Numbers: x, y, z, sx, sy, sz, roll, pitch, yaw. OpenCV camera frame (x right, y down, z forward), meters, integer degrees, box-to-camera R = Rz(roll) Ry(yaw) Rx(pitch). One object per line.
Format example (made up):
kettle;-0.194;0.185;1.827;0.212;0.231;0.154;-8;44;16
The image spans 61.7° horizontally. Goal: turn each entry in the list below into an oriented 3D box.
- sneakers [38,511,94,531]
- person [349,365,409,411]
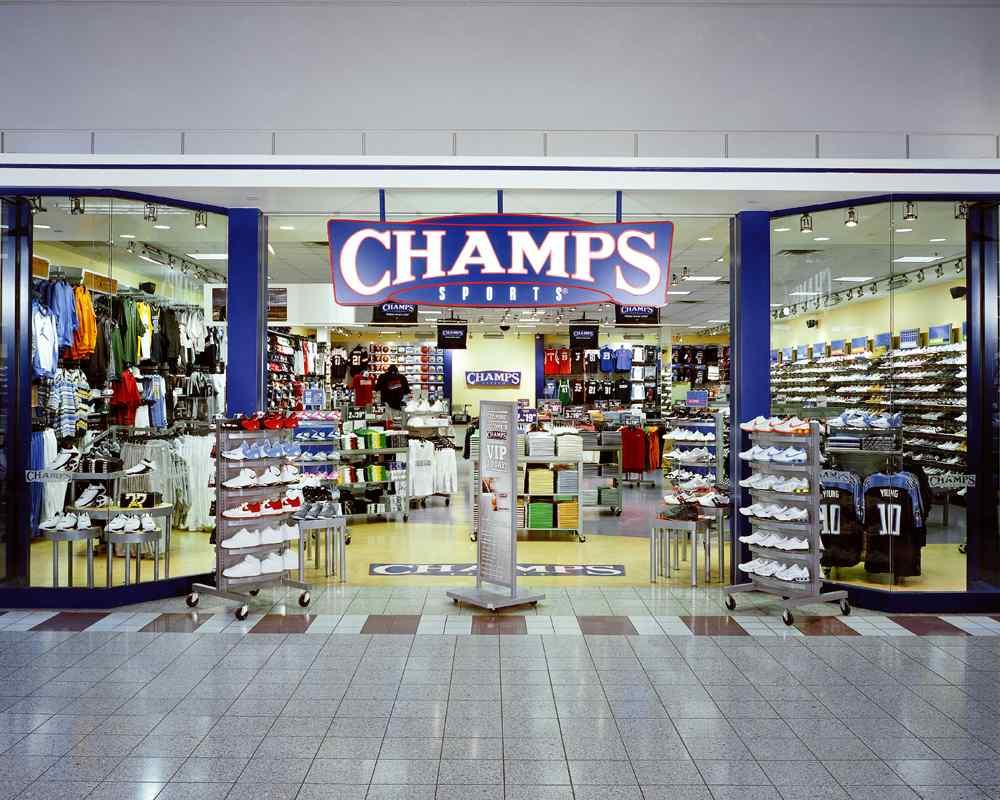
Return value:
sneakers;-3.747;1.035;7.222;0.395;0.133;0.213;0;3;3
person;-2.314;-0.223;15.548;1.090;0.713;0.276;0;-9;6
